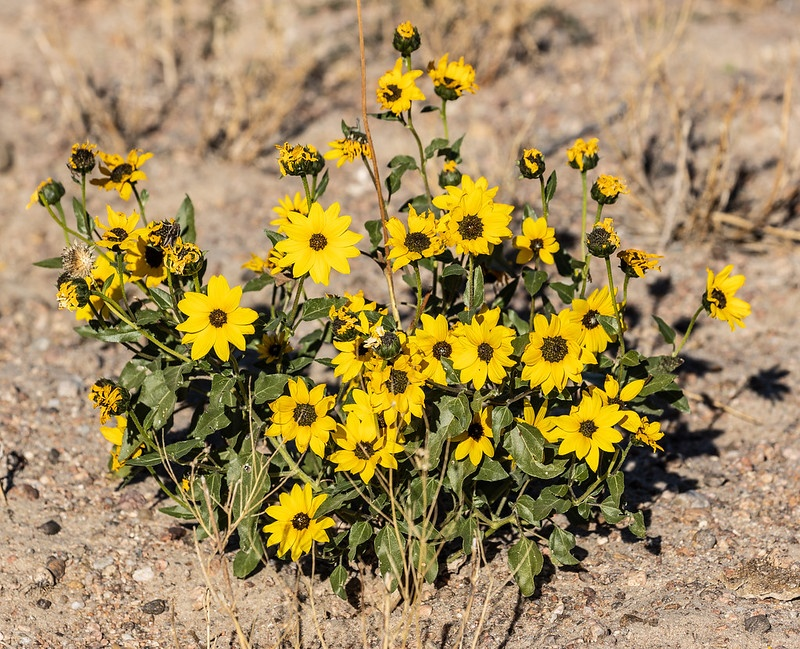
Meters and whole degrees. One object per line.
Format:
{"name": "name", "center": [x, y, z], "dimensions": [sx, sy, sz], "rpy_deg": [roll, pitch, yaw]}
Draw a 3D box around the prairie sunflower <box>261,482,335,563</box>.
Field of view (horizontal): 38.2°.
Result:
{"name": "prairie sunflower", "center": [-0.510, 0.989, 5.862], "dimensions": [0.338, 0.108, 0.383], "rpy_deg": [31, 94, -6]}
